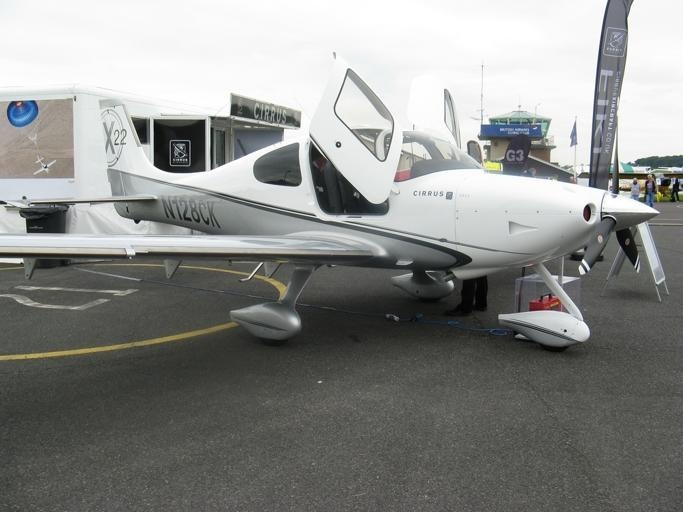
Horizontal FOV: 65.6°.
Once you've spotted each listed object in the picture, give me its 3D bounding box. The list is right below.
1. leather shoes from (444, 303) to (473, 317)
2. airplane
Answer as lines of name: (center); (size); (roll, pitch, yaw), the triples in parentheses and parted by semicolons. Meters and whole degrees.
leather shoes: (1.428, 0.686, 6.667); (0.419, 0.125, 0.131); (1, 4, 13)
airplane: (-0.295, -0.496, 5.997); (5.150, 1.390, 5.604); (3, 10, 37)
